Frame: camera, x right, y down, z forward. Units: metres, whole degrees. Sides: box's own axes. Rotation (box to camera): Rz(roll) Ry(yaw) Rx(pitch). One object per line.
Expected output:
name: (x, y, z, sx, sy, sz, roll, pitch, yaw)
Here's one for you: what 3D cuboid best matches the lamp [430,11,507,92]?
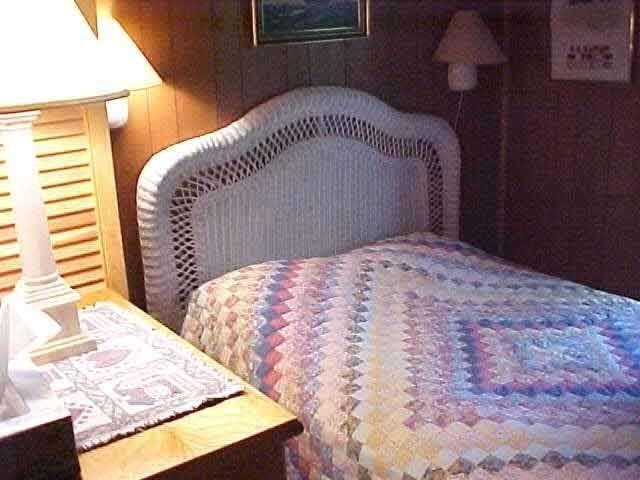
lamp: (0.712, -0.933, 2.621, 0.342, 0.373, 0.380, -11, 26, -13)
